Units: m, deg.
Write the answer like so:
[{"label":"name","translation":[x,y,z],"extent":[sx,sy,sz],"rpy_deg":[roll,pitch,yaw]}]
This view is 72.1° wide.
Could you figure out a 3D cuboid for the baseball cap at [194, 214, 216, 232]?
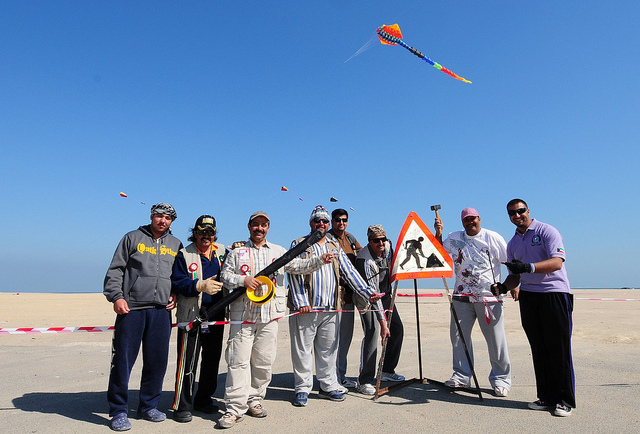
[{"label":"baseball cap","translation":[-1.883,0.125,7.244],"extent":[0.278,0.231,0.400],"rpy_deg":[5,-16,-20]}]

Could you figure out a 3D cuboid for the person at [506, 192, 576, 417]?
[{"label":"person","translation":[4.004,1.555,7.991],"extent":[1.001,3.756,0.855],"rpy_deg":[-2,-3,30]}]
